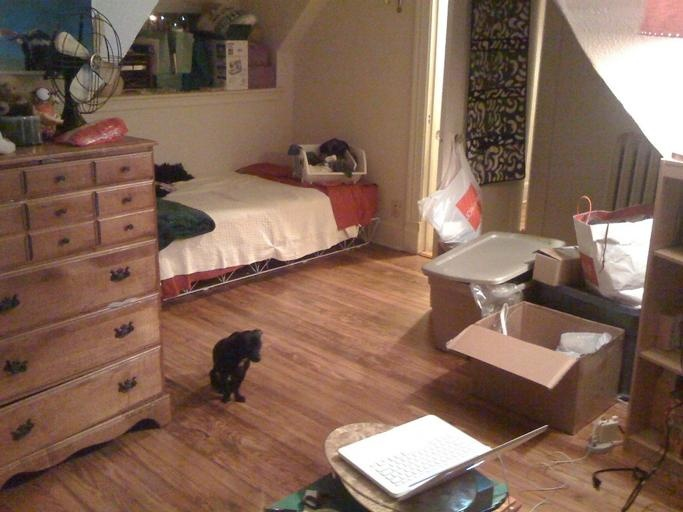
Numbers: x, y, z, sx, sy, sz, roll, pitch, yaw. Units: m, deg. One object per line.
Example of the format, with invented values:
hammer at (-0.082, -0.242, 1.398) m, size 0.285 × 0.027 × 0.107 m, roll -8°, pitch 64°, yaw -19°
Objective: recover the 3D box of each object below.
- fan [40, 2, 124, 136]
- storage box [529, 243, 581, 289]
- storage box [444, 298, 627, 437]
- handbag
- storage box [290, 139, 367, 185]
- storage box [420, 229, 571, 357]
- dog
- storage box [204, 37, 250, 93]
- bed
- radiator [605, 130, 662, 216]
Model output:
fan at (-1.146, -0.856, 2.387) m, size 0.312 × 0.502 × 0.958 m, roll -10°, pitch 22°, yaw -19°
storage box at (1.091, 0.000, 2.681) m, size 0.310 × 0.211 × 0.169 m, roll -8°, pitch 9°, yaw -39°
storage box at (0.915, 0.438, 2.354) m, size 0.626 × 0.385 × 0.593 m, roll -22°, pitch 28°, yaw -39°
handbag at (1.277, 0.011, 2.436) m, size 0.352 × 0.426 × 0.231 m, roll -2°, pitch -3°, yaw -21°
storage box at (-0.098, -0.738, 4.282) m, size 0.447 × 0.278 × 0.458 m, roll -7°, pitch 29°, yaw -18°
storage box at (0.854, 0.177, 2.983) m, size 0.788 × 0.482 × 0.530 m, roll -35°, pitch 32°, yaw -29°
dog at (-0.505, 0.505, 2.462) m, size 0.165 × 0.351 × 0.352 m, roll 2°, pitch 7°, yaw -41°
storage box at (-0.932, -1.595, 4.413) m, size 0.336 × 0.362 × 0.342 m, roll 3°, pitch 19°, yaw 6°
bed at (-0.585, -0.144, 3.830) m, size 1.258 × 0.377 × 0.891 m, roll -21°, pitch 35°, yaw -30°
radiator at (1.723, -0.491, 3.164) m, size 0.123 × 0.457 × 0.416 m, roll 4°, pitch 3°, yaw -33°
